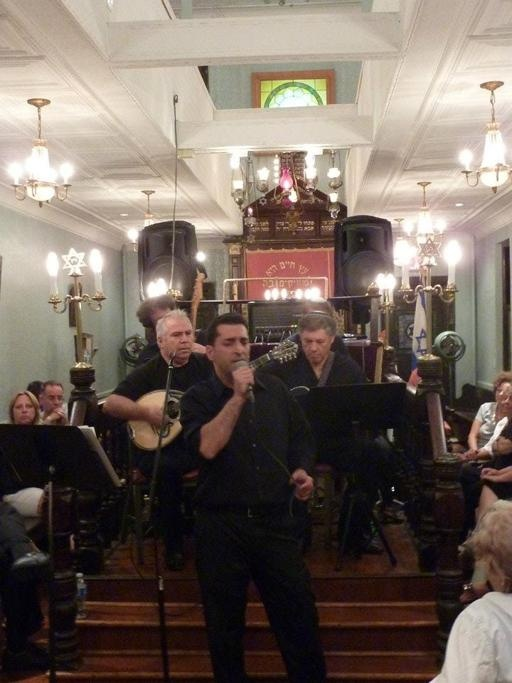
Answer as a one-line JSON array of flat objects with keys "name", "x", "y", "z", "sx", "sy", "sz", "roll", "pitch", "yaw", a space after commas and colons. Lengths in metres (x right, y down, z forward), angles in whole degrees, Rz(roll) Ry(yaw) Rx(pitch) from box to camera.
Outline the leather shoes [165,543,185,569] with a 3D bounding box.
[{"name": "leather shoes", "x": -0.456, "y": 1.226, "z": 3.594, "sx": 0.095, "sy": 0.149, "sz": 0.107, "roll": 2, "pitch": 2, "yaw": -22}]

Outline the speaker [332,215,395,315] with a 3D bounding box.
[{"name": "speaker", "x": 1.140, "y": -0.766, "z": 6.551, "sx": 0.641, "sy": 0.998, "sz": 0.586, "roll": -1, "pitch": -10, "yaw": 3}]

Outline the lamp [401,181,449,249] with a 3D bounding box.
[{"name": "lamp", "x": 1.910, "y": -1.402, "z": 7.101, "sx": 0.598, "sy": 0.800, "sz": 0.580, "roll": 2, "pitch": 17, "yaw": 20}]

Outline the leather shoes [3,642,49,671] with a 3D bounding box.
[{"name": "leather shoes", "x": -1.192, "y": 1.668, "z": 3.319, "sx": 0.309, "sy": 0.119, "sz": 0.106, "roll": 1, "pitch": -1, "yaw": -4}]

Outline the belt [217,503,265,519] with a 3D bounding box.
[{"name": "belt", "x": -0.056, "y": 0.623, "z": 2.301, "sx": 0.166, "sy": 0.044, "sz": 0.025, "roll": -1, "pitch": 1, "yaw": 5}]

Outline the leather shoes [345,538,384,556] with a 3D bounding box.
[{"name": "leather shoes", "x": 0.715, "y": 1.293, "z": 3.929, "sx": 0.290, "sy": 0.127, "sz": 0.091, "roll": 8, "pitch": -15, "yaw": -13}]

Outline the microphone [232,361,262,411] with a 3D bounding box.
[{"name": "microphone", "x": -0.038, "y": 0.155, "z": 2.258, "sx": 0.084, "sy": 0.176, "sz": 0.077, "roll": -14, "pitch": -8, "yaw": 18}]

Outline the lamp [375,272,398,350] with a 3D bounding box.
[{"name": "lamp", "x": 1.482, "y": -0.302, "z": 7.137, "sx": 0.297, "sy": 0.891, "sz": 0.285, "roll": -1, "pitch": -1, "yaw": -5}]
